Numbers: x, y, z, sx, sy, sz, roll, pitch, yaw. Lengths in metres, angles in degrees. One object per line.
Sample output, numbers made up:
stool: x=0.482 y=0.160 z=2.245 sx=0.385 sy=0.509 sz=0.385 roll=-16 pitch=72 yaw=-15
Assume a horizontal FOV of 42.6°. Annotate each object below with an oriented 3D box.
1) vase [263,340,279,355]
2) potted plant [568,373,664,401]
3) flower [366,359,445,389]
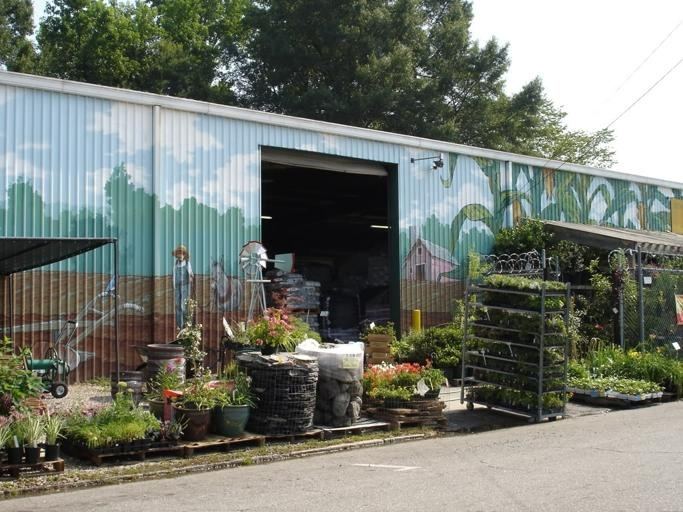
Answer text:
vase: x=-1.721 y=2.199 z=21.105 sx=0.299 sy=0.249 sz=0.292 roll=-5 pitch=-11 yaw=26
potted plant: x=7.446 y=3.595 z=23.814 sx=2.404 sy=0.640 sz=1.107 roll=-3 pitch=-8 yaw=19
flower: x=1.522 y=2.980 z=21.750 sx=1.950 sy=0.615 sz=0.965 roll=-3 pitch=-8 yaw=18
